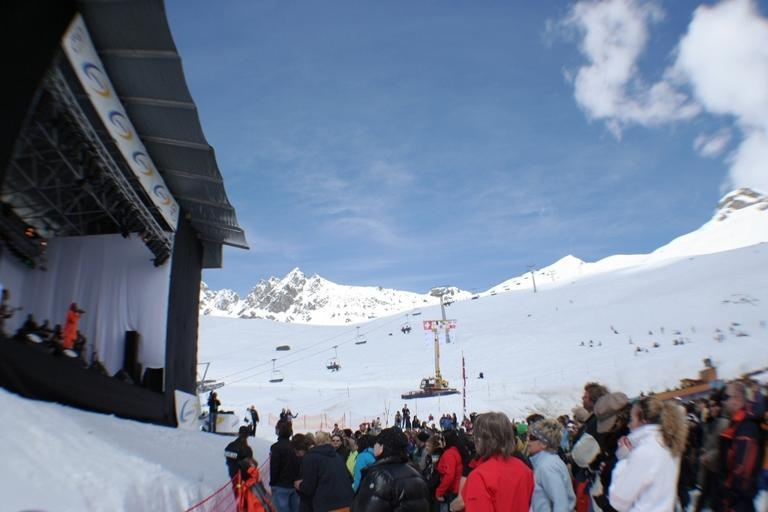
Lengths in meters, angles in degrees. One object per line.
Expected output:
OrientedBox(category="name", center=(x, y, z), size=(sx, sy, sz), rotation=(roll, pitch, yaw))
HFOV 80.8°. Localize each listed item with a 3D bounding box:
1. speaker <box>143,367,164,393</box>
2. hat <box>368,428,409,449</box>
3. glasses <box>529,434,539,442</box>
OrientedBox(category="speaker", center=(-7.448, 3.989, 14.644), size=(0.784, 0.766, 0.805), rotation=(0, -12, -8))
OrientedBox(category="hat", center=(0.089, 2.587, 6.464), size=(0.292, 0.339, 0.347), rotation=(34, -27, -26))
OrientedBox(category="glasses", center=(2.215, 2.656, 6.673), size=(0.100, 0.030, 0.107), rotation=(33, -18, 12))
